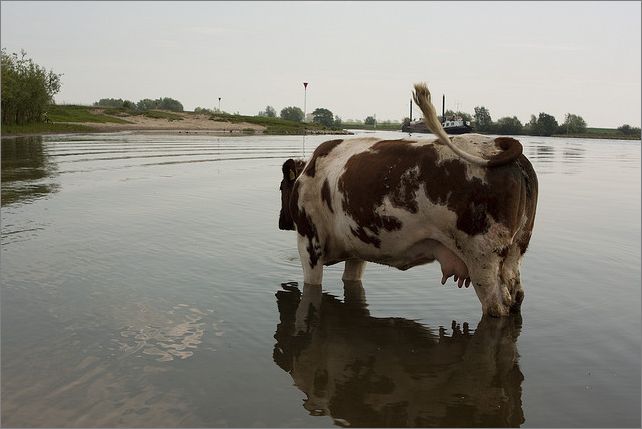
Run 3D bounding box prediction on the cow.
[{"bbox_3d":[1.655,-0.152,10.667,2.133,3.594,6.336,1,3,-41],"label":"cow"}]
